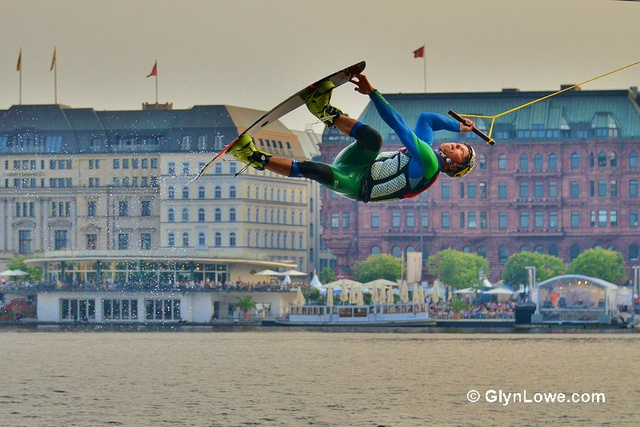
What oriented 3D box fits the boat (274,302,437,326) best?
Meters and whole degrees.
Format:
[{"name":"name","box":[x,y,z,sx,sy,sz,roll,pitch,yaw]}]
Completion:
[{"name":"boat","box":[4.034,10.248,197.559,13.706,2.465,1.145,-3,-8,12]}]

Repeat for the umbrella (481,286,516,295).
[{"name":"umbrella","box":[18.579,8.053,205.865,2.941,1.066,5.037,-2,-7,3]}]
